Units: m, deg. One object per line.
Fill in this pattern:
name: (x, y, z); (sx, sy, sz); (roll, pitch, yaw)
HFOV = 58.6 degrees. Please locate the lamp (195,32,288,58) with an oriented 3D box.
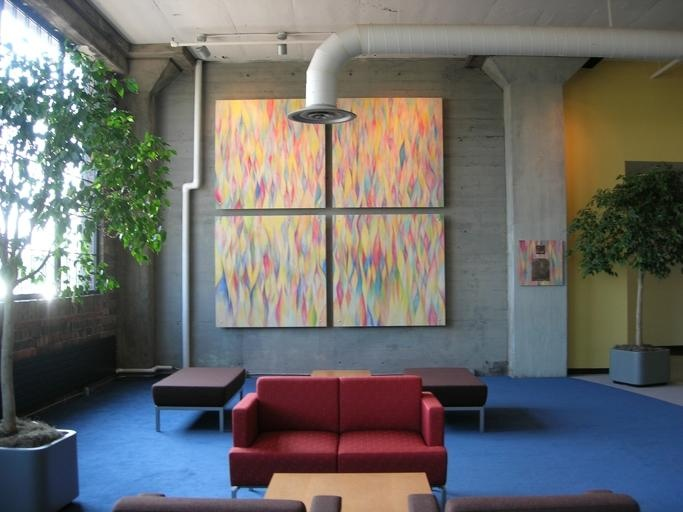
lamp: (-1.593, -3.325, 9.606); (1.537, 0.281, 0.557); (0, 8, 2)
